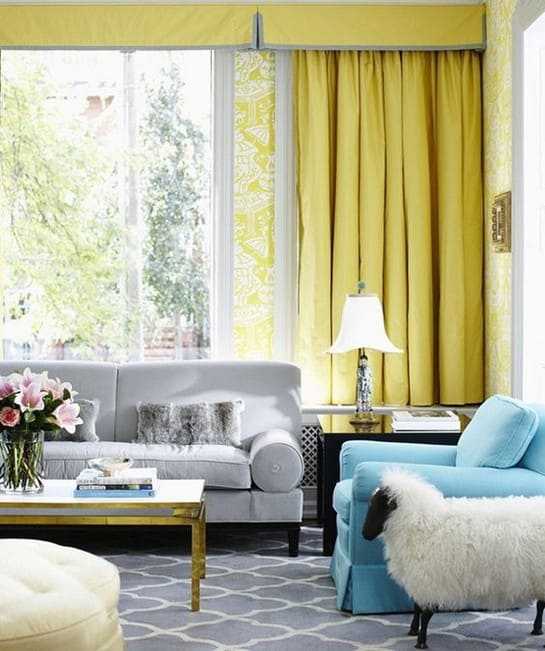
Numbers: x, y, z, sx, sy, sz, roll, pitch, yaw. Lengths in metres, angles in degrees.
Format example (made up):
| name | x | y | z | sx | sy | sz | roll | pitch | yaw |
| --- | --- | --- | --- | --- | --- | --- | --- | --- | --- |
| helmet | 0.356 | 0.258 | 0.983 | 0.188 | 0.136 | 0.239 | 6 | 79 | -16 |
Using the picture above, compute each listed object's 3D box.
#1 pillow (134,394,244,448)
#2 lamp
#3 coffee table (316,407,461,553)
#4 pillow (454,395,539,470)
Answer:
| name | x | y | z | sx | sy | sz | roll | pitch | yaw |
| --- | --- | --- | --- | --- | --- | --- | --- | --- | --- |
| pillow | -0.373 | 0.451 | 3.380 | 0.332 | 0.228 | 0.095 | -2 | -12 | -4 |
| lamp | 0.425 | 0.158 | 3.419 | 0.392 | 0.708 | 0.403 | 3 | 11 | 31 |
| coffee table | 0.458 | 0.614 | 3.085 | 0.454 | 0.474 | 0.609 | 0 | -1 | 2 |
| pillow | 0.713 | 0.368 | 2.470 | 0.199 | 0.254 | 0.367 | 0 | 0 | -11 |
